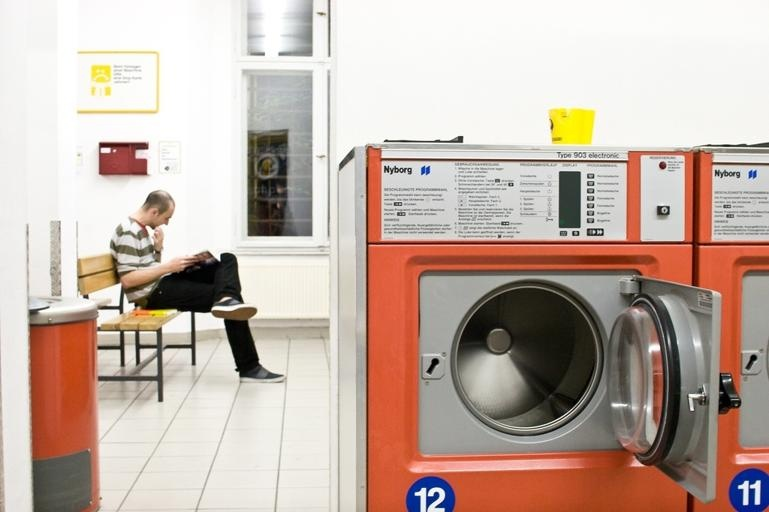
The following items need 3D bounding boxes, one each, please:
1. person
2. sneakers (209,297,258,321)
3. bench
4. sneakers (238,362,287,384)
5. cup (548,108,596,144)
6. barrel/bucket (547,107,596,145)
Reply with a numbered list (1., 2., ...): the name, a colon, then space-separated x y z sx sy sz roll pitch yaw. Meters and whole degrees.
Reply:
1. person: -1.451 0.175 5.416 1.315 1.557 1.125 0 0 -15
2. sneakers: -0.982 0.346 4.785 0.291 0.115 0.140 3 -21 -15
3. bench: -1.770 0.447 5.211 0.531 0.953 1.524 0 2 -13
4. sneakers: -0.824 0.801 4.993 0.331 0.133 0.123 0 -4 -3
5. cup: 0.738 -0.519 2.923 0.165 0.141 0.213 6 12 27
6. barrel/bucket: 0.757 -0.518 2.942 0.161 0.125 0.165 0 6 0
